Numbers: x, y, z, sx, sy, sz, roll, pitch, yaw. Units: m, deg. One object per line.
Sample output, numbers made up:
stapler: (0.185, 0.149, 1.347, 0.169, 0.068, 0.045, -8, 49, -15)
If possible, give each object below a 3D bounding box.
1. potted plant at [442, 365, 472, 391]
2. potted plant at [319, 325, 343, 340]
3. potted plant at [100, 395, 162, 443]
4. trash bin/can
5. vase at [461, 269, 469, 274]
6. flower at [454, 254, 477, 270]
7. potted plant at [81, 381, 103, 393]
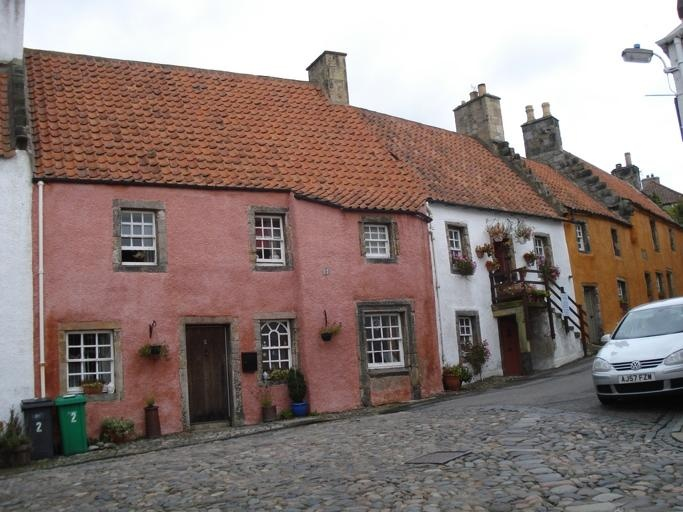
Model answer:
potted plant: (3.612, 3.848, 19.381, 0.886, 0.693, 0.811, 3, -22, -9)
potted plant: (-0.313, 2.113, 16.875, 0.468, 0.296, 0.423, 2, -9, -22)
potted plant: (-5.096, 3.995, 14.802, 0.864, 0.791, 1.231, -15, -19, 42)
trash bin/can: (-6.279, 3.779, 13.402, 1.180, 1.048, 0.662, -8, -6, -39)
vase: (4.252, 0.546, 21.087, 0.131, 0.151, 0.234, -8, 10, -38)
flower: (4.186, 0.202, 21.017, 0.594, 0.368, 0.520, 6, 1, 17)
potted plant: (-5.886, 3.127, 14.558, 0.427, 0.297, 0.120, -1, -8, -36)
